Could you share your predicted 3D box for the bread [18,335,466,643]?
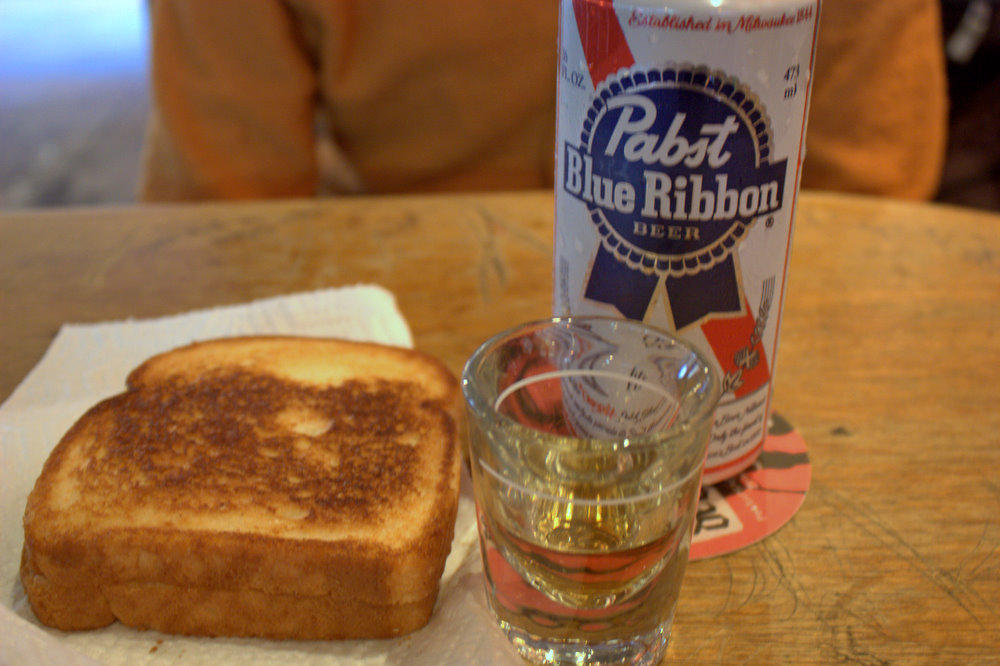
[{"bbox_3d":[-0.249,0.154,0.928,0.268,0.083,0.297,5,37,-4],"label":"bread"}]
